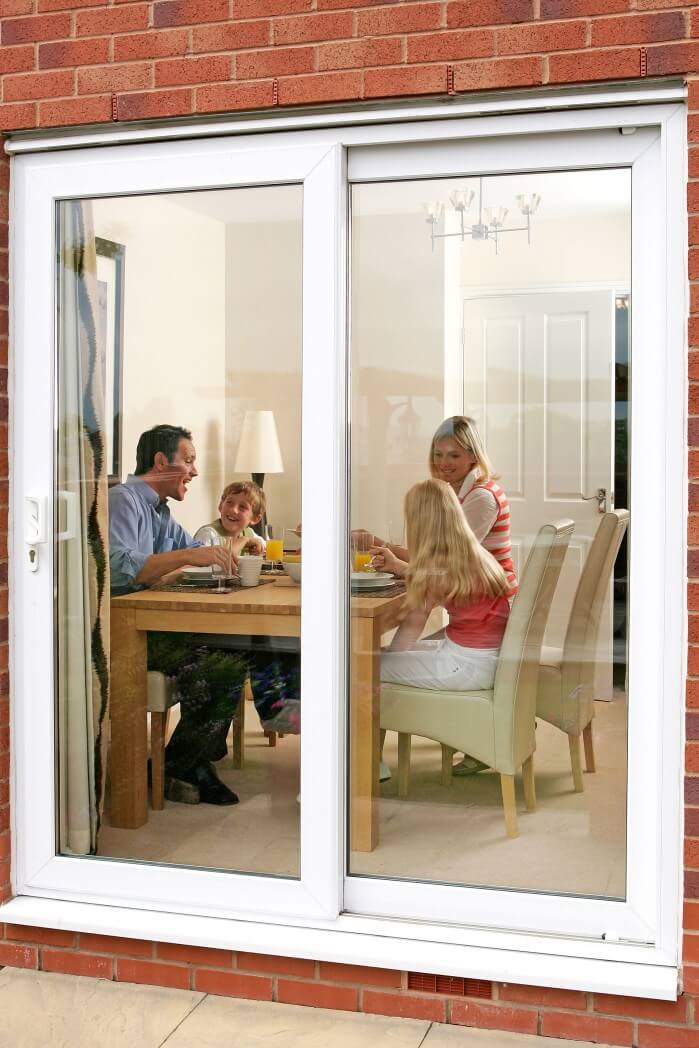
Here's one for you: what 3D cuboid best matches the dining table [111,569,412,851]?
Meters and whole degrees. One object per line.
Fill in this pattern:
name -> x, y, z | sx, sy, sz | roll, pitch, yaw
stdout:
dining table -> -0.248, 0.400, 2.703 | 0.595, 0.567, 0.616 | 0, 1, 5

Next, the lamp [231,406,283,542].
lamp -> -0.205, -0.173, 2.418 | 0.142, 0.374, 0.153 | -1, 4, -10

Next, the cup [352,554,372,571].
cup -> 0.030, 0.086, 2.385 | 0.035, 0.040, 0.037 | 2, 1, 0

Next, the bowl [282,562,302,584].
bowl -> -0.129, 0.112, 2.416 | 0.039, 0.032, 0.041 | 0, -1, 0

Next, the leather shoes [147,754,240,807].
leather shoes -> -0.370, 0.621, 2.584 | 0.218, 0.102, 0.076 | 1, -3, 18

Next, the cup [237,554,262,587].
cup -> -0.225, 0.108, 2.499 | 0.060, 0.068, 0.061 | 1, 2, 0

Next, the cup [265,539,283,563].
cup -> -0.170, 0.061, 2.433 | 0.043, 0.054, 0.045 | 1, 2, 0

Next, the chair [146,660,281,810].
chair -> -0.324, 0.474, 2.657 | 0.271, 0.416, 0.416 | 0, 0, 4

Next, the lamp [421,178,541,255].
lamp -> 0.286, -0.652, 2.281 | 0.176, 0.121, 0.154 | 0, 9, 1
